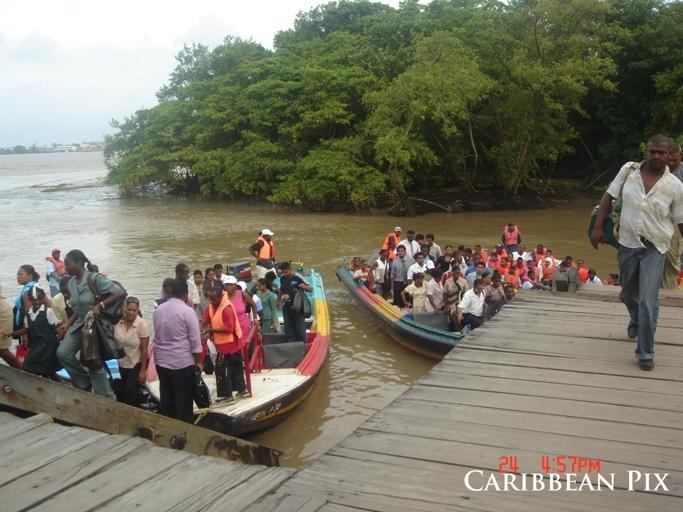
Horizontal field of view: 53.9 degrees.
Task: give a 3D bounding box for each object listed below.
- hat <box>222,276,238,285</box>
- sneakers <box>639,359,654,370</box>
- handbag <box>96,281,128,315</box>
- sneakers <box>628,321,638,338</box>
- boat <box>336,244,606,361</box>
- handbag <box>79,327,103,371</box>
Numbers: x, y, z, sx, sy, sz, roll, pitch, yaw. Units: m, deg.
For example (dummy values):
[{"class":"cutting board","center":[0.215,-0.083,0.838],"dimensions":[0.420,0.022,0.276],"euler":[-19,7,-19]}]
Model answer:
[{"class":"hat","center":[-1.575,0.344,9.533],"dimensions":[0.273,0.132,0.391],"euler":[-1,-5,3]},{"class":"sneakers","center":[2.666,0.953,5.887],"dimensions":[0.055,0.106,0.169],"euler":[-21,-30,38]},{"class":"handbag","center":[-2.630,0.516,7.787],"dimensions":[0.309,0.373,0.397],"euler":[13,22,10]},{"class":"sneakers","center":[2.807,0.712,6.469],"dimensions":[0.064,0.181,0.083],"euler":[-1,-13,23]},{"class":"boat","center":[1.876,0.748,10.942],"dimensions":[1.086,0.687,3.780],"euler":[-10,20,-16]},{"class":"handbag","center":[-2.895,1.075,7.742],"dimensions":[0.232,0.572,0.228],"euler":[-7,14,-22]}]
